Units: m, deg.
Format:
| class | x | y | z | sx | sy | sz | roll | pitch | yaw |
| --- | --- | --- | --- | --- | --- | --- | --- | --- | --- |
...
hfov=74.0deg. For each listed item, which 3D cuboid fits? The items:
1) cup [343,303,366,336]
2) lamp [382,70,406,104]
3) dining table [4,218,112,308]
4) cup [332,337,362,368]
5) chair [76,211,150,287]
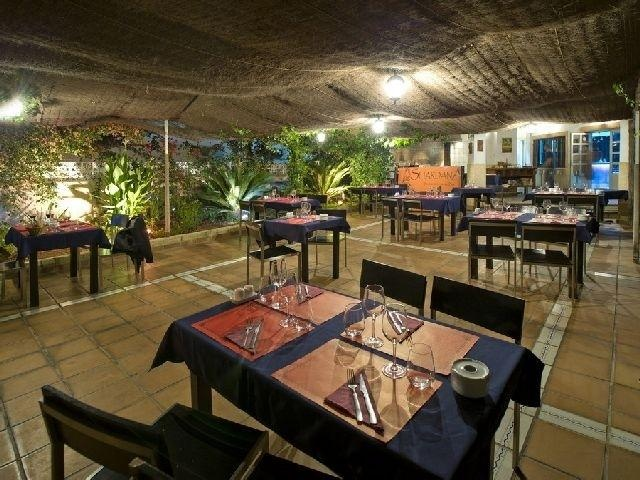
| class | x | y | z | sx | sy | sz | roll | pitch | yaw |
| --- | --- | --- | --- | --- | --- | --- | --- | --- | --- |
| cup | 0.200 | 0.478 | 2.514 | 0.132 | 0.173 | 0.129 | -1 | 0 | 0 |
| lamp | 0.817 | -1.688 | 4.668 | 0.187 | 0.216 | 0.182 | -3 | 12 | -4 |
| dining table | -3.177 | 0.236 | 5.261 | 0.955 | 0.879 | 0.849 | -10 | 12 | -41 |
| cup | 0.135 | 0.612 | 2.272 | 0.098 | 0.070 | 0.085 | -3 | 12 | -31 |
| chair | -2.722 | 0.052 | 5.873 | 0.782 | 1.310 | 0.843 | -2 | 14 | -42 |
